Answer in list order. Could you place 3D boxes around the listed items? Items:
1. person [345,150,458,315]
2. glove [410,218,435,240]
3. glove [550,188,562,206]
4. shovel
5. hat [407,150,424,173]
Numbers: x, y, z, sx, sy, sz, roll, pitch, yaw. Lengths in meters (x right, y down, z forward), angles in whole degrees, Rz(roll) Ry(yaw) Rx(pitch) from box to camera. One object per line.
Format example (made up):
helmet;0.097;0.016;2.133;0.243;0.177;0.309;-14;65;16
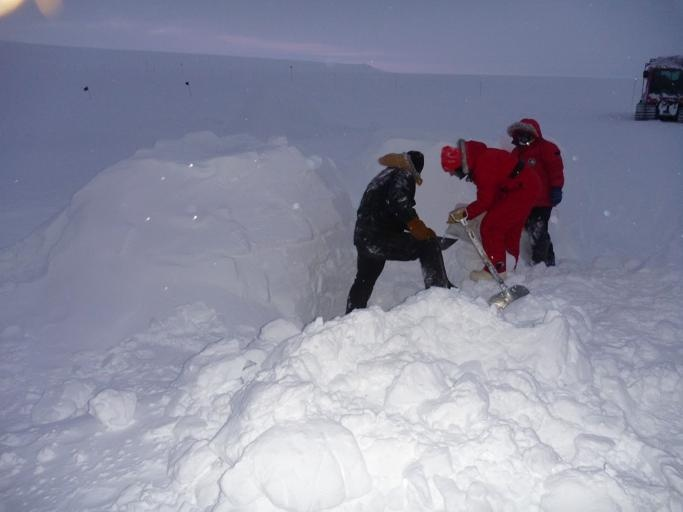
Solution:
person;0.418;-0.211;4.392;0.790;1.261;0.516;-18;31;-15
glove;0.554;-0.195;4.223;0.165;0.073;0.127;28;29;-28
glove;1.648;-0.463;4.676;0.078;0.113;0.114;0;-6;8
shovel;1.009;0.075;4.216;0.305;0.166;0.827;-16;66;-13
hat;0.537;-0.676;4.322;0.112;0.157;0.150;2;15;17
